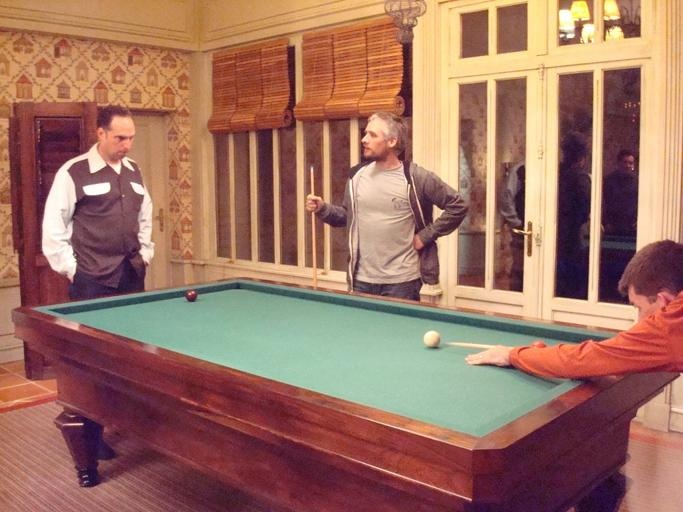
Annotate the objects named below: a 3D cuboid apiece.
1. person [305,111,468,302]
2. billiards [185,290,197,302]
[{"bbox_3d":[0.310,-0.005,4.159,1.051,1.776,0.551,2,4,19],"label":"person"},{"bbox_3d":[-0.870,0.235,3.648,0.061,0.061,0.060,-12,-9,20],"label":"billiards"}]
